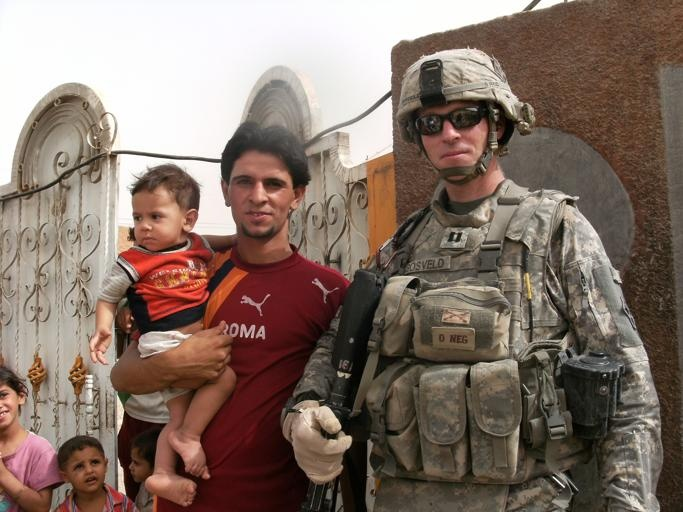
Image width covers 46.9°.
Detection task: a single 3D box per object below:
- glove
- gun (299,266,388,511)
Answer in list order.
[{"bbox_3d":[-0.103,0.855,3.521,0.269,0.370,0.168,-17,8,12],"label":"glove"},{"bbox_3d":[0.007,0.648,3.694,0.194,1.191,0.421,14,-2,10],"label":"gun"}]
